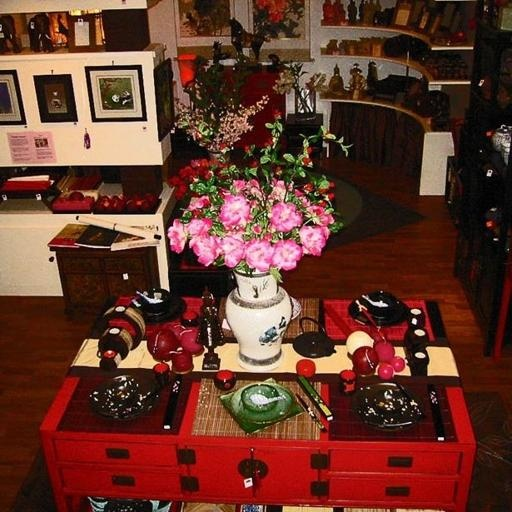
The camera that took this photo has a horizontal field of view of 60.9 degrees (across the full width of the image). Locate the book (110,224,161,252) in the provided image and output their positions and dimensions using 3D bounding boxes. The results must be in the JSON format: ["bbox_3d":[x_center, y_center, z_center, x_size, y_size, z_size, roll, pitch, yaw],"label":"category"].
[{"bbox_3d":[-1.013,-0.146,3.664,0.311,0.064,0.269,2,38,-2],"label":"book"}]

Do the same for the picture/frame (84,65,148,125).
[{"bbox_3d":[-1.116,-1.309,3.470,0.577,0.459,0.036,1,35,0],"label":"picture/frame"}]

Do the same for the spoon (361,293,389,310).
[{"bbox_3d":[0.624,0.240,2.266,0.088,0.027,0.051,17,36,36],"label":"spoon"}]

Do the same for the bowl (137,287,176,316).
[{"bbox_3d":[-0.542,0.236,2.361,0.148,0.083,0.169,8,12,35],"label":"bowl"}]

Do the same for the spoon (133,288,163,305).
[{"bbox_3d":[-0.582,0.217,2.341,0.124,0.050,0.087,10,32,9],"label":"spoon"}]

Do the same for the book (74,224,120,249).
[{"bbox_3d":[-1.369,-0.166,3.727,0.240,0.030,0.226,10,42,8],"label":"book"}]

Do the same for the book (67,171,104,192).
[{"bbox_3d":[-1.681,-0.719,4.324,0.300,0.065,0.259,-5,35,-2],"label":"book"}]

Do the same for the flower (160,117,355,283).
[{"bbox_3d":[0.006,-0.249,1.817,0.675,0.629,0.930,-2,22,8],"label":"flower"}]

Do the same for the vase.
[{"bbox_3d":[0.011,0.256,1.905,0.298,0.416,0.294,-10,8,-33],"label":"vase"}]

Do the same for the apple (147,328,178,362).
[{"bbox_3d":[-0.420,0.404,2.062,0.166,0.159,0.144,0,32,-1],"label":"apple"}]

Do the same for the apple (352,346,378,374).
[{"bbox_3d":[0.483,0.462,1.920,0.092,0.090,0.106,42,2,3],"label":"apple"}]
